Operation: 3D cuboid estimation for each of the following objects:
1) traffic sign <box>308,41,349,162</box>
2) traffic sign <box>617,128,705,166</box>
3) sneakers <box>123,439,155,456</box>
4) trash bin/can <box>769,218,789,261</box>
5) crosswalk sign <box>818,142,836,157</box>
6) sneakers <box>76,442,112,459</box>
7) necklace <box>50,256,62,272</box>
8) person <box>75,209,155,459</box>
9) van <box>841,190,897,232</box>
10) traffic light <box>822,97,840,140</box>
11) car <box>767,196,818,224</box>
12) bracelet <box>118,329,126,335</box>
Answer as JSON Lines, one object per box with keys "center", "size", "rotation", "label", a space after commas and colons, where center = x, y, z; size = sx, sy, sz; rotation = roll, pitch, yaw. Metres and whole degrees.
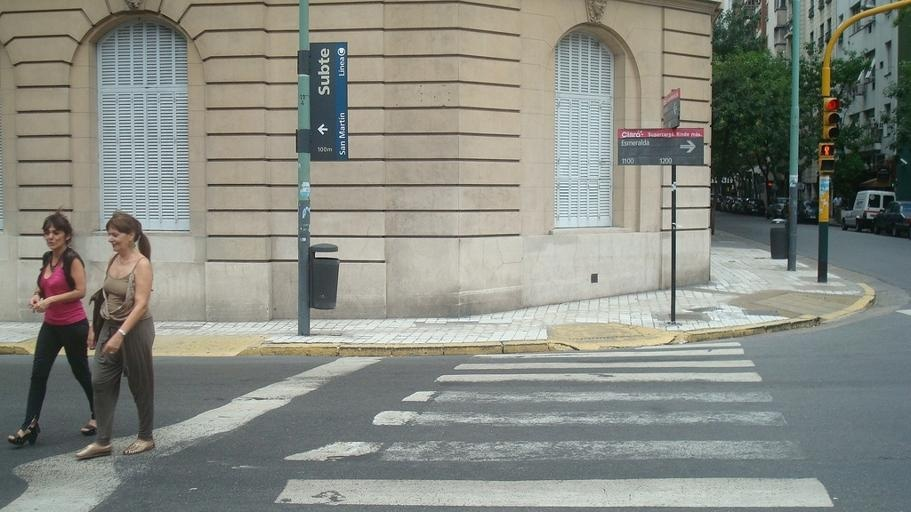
{"center": [-2.890, -3.525, 23.382], "size": [0.685, 2.700, 1.198], "rotation": [-1, 5, 8], "label": "traffic sign"}
{"center": [4.803, -2.488, 23.472], "size": [2.082, 0.854, 0.207], "rotation": [2, 10, 28], "label": "traffic sign"}
{"center": [-5.483, 3.323, 17.677], "size": [0.567, 0.210, 0.212], "rotation": [0, 3, -19], "label": "sneakers"}
{"center": [10.847, -0.442, 34.101], "size": [0.488, 1.142, 0.735], "rotation": [1, 6, 23], "label": "trash bin/can"}
{"center": [10.339, -2.900, 28.342], "size": [0.352, 0.400, 0.495], "rotation": [0, 5, 14], "label": "crosswalk sign"}
{"center": [-6.253, 3.374, 17.617], "size": [0.618, 0.211, 0.243], "rotation": [2, -1, -14], "label": "sneakers"}
{"center": [-7.155, 0.151, 18.241], "size": [0.192, 0.239, 0.061], "rotation": [-1, -17, -5], "label": "necklace"}
{"center": [-5.772, 1.341, 17.706], "size": [1.061, 4.137, 0.638], "rotation": [-3, 6, -15], "label": "person"}
{"center": [21.857, -2.406, 53.653], "size": [1.960, 1.443, 3.027], "rotation": [-1, 5, 2], "label": "van"}
{"center": [10.300, -3.733, 27.858], "size": [0.399, 1.159, 0.648], "rotation": [1, 6, 22], "label": "traffic light"}
{"center": [21.301, -2.753, 64.144], "size": [2.743, 1.487, 4.689], "rotation": [0, 5, 16], "label": "car"}
{"center": [-5.718, 1.324, 17.506], "size": [0.086, 0.115, 0.031], "rotation": [-15, 30, 39], "label": "bracelet"}
